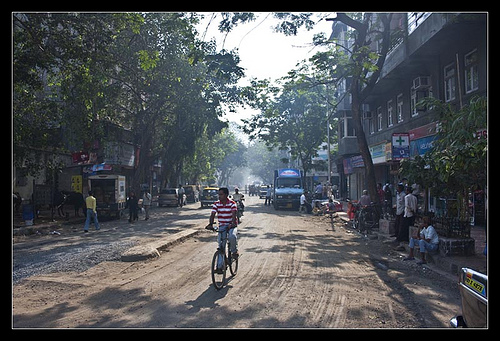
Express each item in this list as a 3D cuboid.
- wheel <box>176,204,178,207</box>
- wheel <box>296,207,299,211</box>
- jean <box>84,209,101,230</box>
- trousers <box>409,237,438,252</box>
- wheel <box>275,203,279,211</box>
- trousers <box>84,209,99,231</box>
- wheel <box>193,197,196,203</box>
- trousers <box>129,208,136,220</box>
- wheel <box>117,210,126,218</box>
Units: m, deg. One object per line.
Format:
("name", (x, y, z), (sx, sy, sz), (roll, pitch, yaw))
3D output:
("wheel", (-7.559, 3.613, 40.617), (0.307, 0.327, 0.174), (0, -8, 1))
("wheel", (4.206, 3.397, 34.677), (0.198, 0.211, 0.120), (1, -12, 4))
("jean", (-8.804, 2.733, 21.843), (0.871, 1.377, 0.440), (3, 17, 1))
("trousers", (5.625, 2.379, 12.698), (0.591, 0.422, 0.680), (-2, -8, -13))
("wheel", (2.375, 3.145, 34.332), (0.327, 0.534, 0.944), (-3, -8, 2))
("trousers", (-8.718, 2.739, 21.537), (0.931, 1.534, 0.448), (1, 8, 6))
("wheel", (-7.002, 3.625, 49.355), (0.664, 0.692, 0.276), (-4, -8, 8))
("trousers", (-7.436, 2.781, 25.000), (0.333, 0.737, 1.334), (-1, -8, -16))
("wheel", (-9.044, 3.052, 27.444), (0.200, 0.582, 0.558), (-1, -4, 11))
